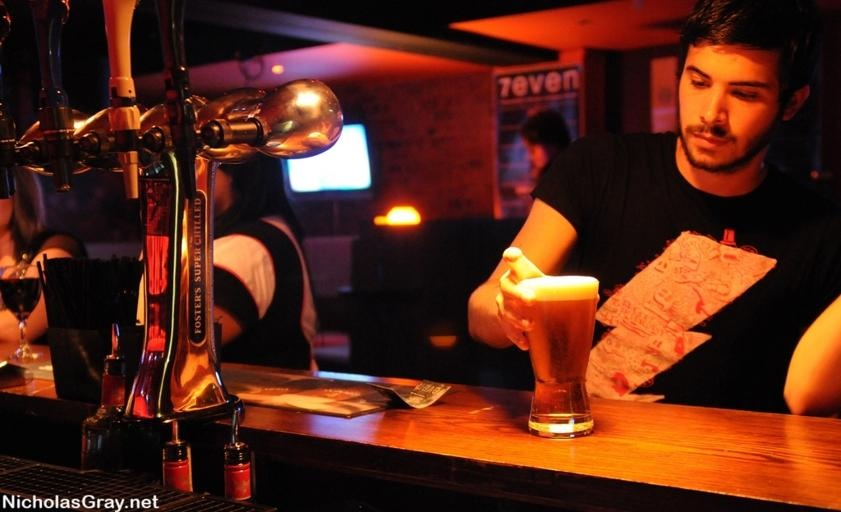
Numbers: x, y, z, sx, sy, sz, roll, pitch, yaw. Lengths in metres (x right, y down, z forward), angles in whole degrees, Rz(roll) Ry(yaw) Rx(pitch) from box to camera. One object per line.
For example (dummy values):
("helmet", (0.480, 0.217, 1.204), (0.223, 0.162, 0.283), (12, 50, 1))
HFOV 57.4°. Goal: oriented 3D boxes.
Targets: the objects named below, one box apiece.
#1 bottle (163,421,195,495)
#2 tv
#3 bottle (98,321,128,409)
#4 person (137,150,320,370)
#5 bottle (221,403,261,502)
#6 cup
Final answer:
("bottle", (-0.516, 0.424, 1.622), (0.062, 0.163, 0.121), (-11, 21, -18))
("tv", (-0.373, -0.392, 2.969), (0.058, 0.320, 0.545), (12, 14, 35))
("bottle", (-0.684, 0.248, 1.702), (0.054, 0.182, 0.099), (-7, 21, -9))
("person", (-0.779, 0.072, 3.587), (0.860, 1.035, 1.355), (-1, -1, -28))
("bottle", (-0.385, 0.428, 1.602), (0.065, 0.190, 0.056), (-1, 6, -12))
("cup", (0.299, 0.221, 1.666), (0.166, 0.377, 0.137), (-2, 21, 4))
